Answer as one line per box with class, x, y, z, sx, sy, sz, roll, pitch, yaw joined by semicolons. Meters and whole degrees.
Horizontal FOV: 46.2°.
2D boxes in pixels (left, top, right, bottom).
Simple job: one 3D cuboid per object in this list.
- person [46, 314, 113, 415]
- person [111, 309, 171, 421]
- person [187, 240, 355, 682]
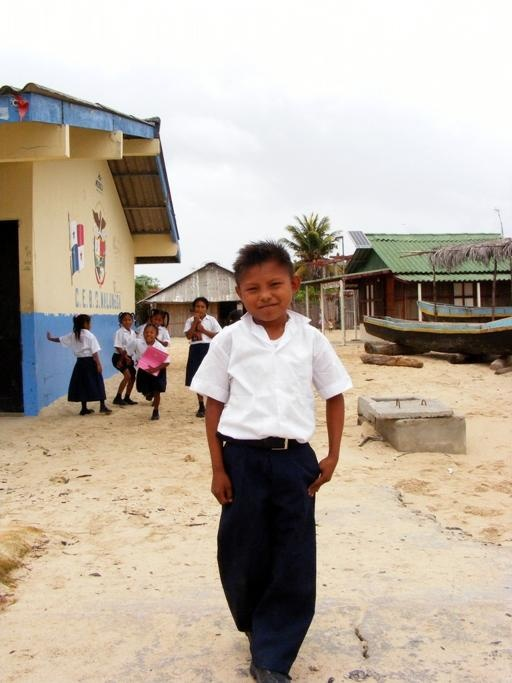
person;-2.203;0.295;7.645;0.667;1.266;0.406;1;2;22
person;-1.466;0.285;7.768;0.718;1.312;1.792;0;1;-13
person;0.046;0.476;2.054;0.375;1.171;0.448;2;3;36
